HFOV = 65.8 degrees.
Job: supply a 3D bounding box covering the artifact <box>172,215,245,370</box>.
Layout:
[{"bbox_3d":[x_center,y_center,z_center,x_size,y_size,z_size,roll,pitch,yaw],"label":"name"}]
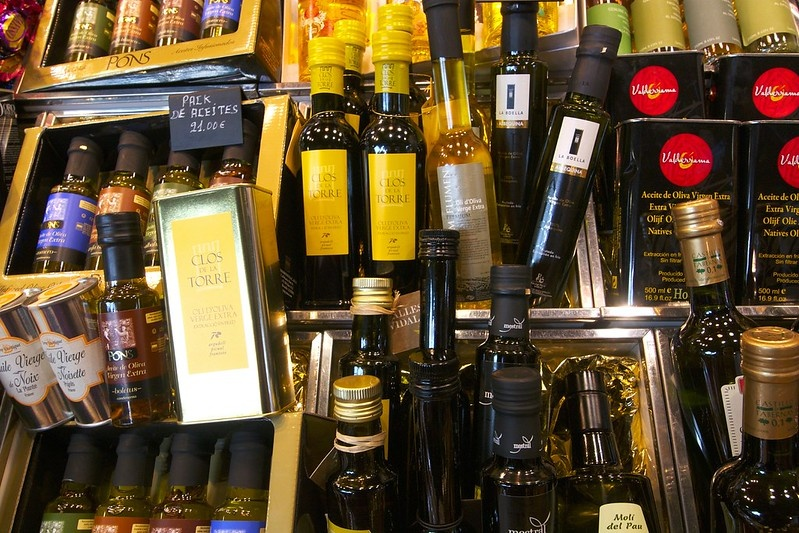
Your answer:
[{"bbox_3d":[-0.378,0.053,1.228,0.120,0.305,0.064,-6,8,-8],"label":"artifact"}]
